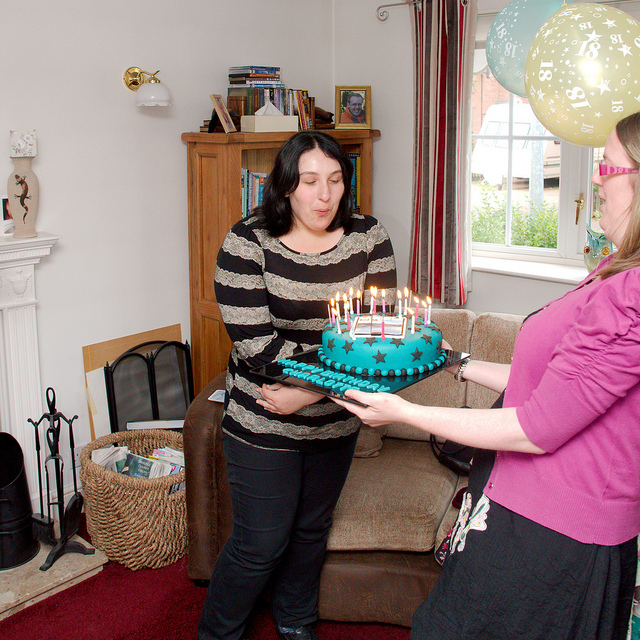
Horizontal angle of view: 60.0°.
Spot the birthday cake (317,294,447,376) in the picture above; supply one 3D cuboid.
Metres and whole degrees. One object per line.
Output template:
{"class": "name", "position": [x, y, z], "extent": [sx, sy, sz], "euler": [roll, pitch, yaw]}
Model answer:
{"class": "birthday cake", "position": [0.159, 0.029, 1.402], "extent": [0.318, 0.145, 0.335], "euler": [1, 11, 13]}

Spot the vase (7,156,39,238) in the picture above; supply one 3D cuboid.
{"class": "vase", "position": [-1.280, -0.528, 2.389], "extent": [0.059, 0.369, 0.114], "euler": [18, 17, 35]}

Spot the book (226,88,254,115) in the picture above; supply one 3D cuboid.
{"class": "book", "position": [-0.420, -1.159, 2.931], "extent": [0.158, 0.150, 0.032], "euler": [4, 11, 30]}

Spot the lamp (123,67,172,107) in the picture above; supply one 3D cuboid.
{"class": "lamp", "position": [-0.829, -1.134, 2.680], "extent": [0.189, 0.189, 0.159], "euler": [7, 18, 14]}

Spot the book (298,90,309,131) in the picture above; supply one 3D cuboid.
{"class": "book", "position": [-0.091, -1.169, 3.078], "extent": [0.041, 0.213, 0.083], "euler": [1, 10, 17]}

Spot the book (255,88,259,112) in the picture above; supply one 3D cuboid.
{"class": "book", "position": [-0.333, -1.158, 2.907], "extent": [0.024, 0.107, 0.007], "euler": [-3, 9, -9]}

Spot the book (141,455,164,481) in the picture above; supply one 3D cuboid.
{"class": "book", "position": [-0.766, 0.677, 2.531], "extent": [0.059, 0.096, 0.064], "euler": [8, -34, -6]}
